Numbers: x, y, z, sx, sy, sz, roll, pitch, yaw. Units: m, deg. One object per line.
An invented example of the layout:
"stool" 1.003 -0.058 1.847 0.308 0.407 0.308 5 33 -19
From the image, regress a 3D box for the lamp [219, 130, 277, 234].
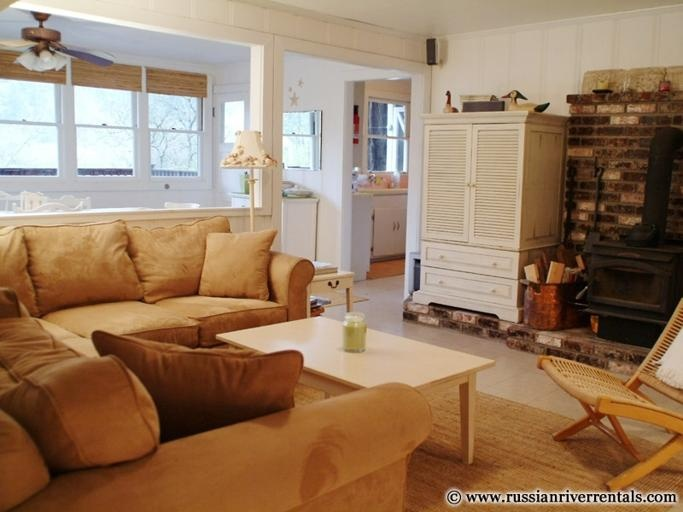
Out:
"lamp" -0.797 -0.662 4.654 0.452 0.845 1.042 -1 10 -7

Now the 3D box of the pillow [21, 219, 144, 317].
"pillow" -1.724 0.093 3.451 0.675 0.514 0.287 -4 -4 -38

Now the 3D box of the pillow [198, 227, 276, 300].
"pillow" -0.781 0.078 3.906 0.561 0.469 0.179 1 -14 2

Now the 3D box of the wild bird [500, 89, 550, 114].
"wild bird" 1.773 -1.482 5.025 0.463 0.246 0.604 3 10 14

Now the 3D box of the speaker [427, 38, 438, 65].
"speaker" 0.979 -2.204 5.708 0.122 0.269 0.128 -3 12 -17

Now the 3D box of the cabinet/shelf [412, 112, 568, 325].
"cabinet/shelf" 1.400 -0.413 5.095 1.137 1.831 0.773 10 15 39

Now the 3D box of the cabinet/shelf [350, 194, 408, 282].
"cabinet/shelf" 0.530 -0.273 7.700 1.445 1.083 0.758 -5 7 -42

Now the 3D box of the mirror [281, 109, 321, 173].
"mirror" -0.519 -1.539 7.079 0.144 0.788 0.770 -10 15 -42

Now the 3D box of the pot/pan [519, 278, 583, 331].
"pot/pan" 1.801 0.382 4.507 0.477 0.294 0.430 -1 5 1
